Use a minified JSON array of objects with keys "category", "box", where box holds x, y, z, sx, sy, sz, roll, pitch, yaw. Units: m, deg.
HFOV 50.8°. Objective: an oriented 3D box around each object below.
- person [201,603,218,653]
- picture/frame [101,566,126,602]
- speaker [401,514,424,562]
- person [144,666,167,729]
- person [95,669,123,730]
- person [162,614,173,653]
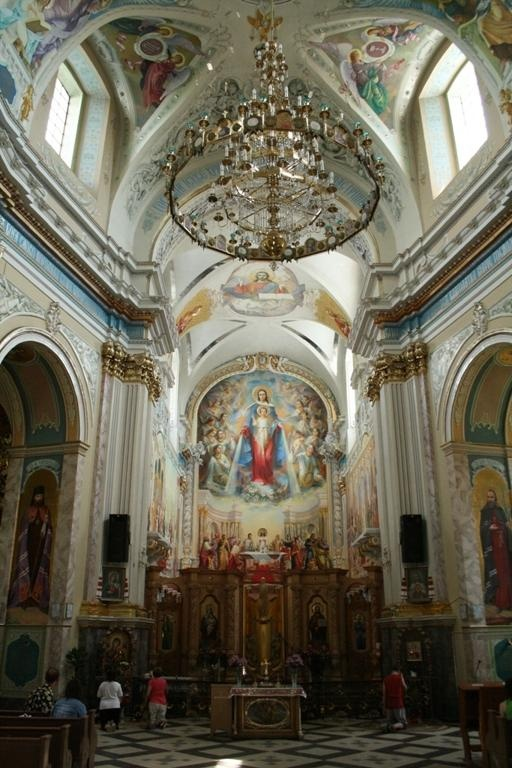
[{"category":"person","box":[-1.217,6.435,14.204,0.490,1.199,0.283,9,-57,-7]},{"category":"picture/frame","box":[-2.386,3.365,9.050,0.460,0.689,0.498,-2,-21,1]},{"category":"speaker","box":[2.739,2.726,9.420,0.449,0.826,0.220,-7,-26,16]},{"category":"person","box":[-1.489,4.715,8.094,0.314,0.754,0.578,5,-26,-9]},{"category":"person","box":[-2.022,4.379,7.496,0.285,0.740,0.281,0,-7,-13]},{"category":"person","box":[-2.294,6.490,13.997,0.299,0.794,0.164,5,-25,-10]}]
